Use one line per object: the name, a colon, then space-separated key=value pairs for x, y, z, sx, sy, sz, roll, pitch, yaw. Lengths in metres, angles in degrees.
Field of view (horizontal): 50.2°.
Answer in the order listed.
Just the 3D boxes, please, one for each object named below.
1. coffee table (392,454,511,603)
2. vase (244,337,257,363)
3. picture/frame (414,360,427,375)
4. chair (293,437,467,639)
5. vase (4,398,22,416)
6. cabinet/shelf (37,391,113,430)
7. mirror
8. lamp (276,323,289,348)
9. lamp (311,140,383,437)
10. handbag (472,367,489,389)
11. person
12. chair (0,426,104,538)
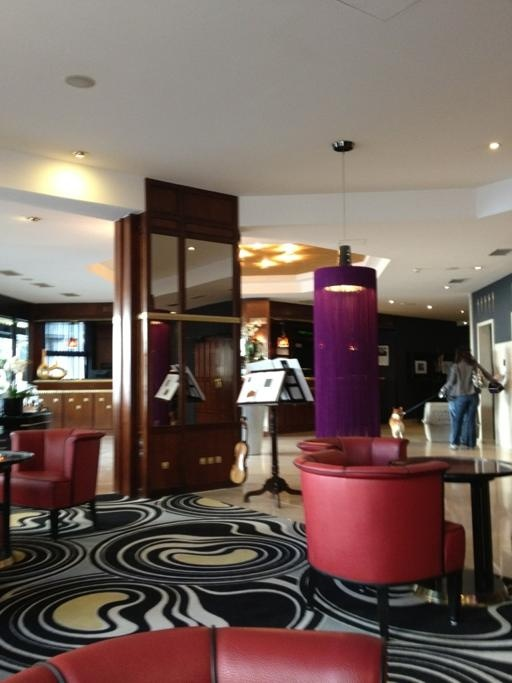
coffee table: x=1.059 y=0.975 z=3.275 sx=0.815 sy=0.737 sz=0.803 roll=-3 pitch=-3 yaw=21
vase: x=-0.093 y=0.179 z=12.034 sx=0.273 sy=0.547 sz=0.302 roll=-1 pitch=-5 yaw=-2
picture/frame: x=5.057 y=0.782 z=16.742 sx=0.467 sy=0.413 sz=0.117 roll=-8 pitch=3 yaw=-38
chair: x=0.700 y=0.857 z=2.976 sx=0.925 sy=0.839 sz=0.982 roll=1 pitch=-3 yaw=-18
vase: x=-2.905 y=0.761 z=6.556 sx=0.230 sy=0.201 sz=0.221 roll=0 pitch=-2 yaw=-23
cabinet/shelf: x=-3.911 y=1.477 z=11.733 sx=1.446 sy=0.776 sz=0.405 roll=0 pitch=-4 yaw=-13
mirror: x=-0.686 y=-0.129 z=6.078 sx=1.092 sy=2.097 sz=0.126 roll=2 pitch=-7 yaw=-34
lamp: x=0.612 y=-0.132 z=12.441 sx=0.138 sy=0.585 sz=0.341 roll=-5 pitch=-7 yaw=38
lamp: x=0.741 y=0.092 z=4.468 sx=0.534 sy=1.365 sz=0.481 roll=-2 pitch=-5 yaw=5
handbag: x=3.996 y=0.645 z=9.728 sx=0.306 sy=0.402 sz=0.108 roll=-6 pitch=-16 yaw=-30
person: x=3.768 y=0.998 z=9.634 sx=0.832 sy=1.728 sz=0.475 roll=0 pitch=-6 yaw=-13
chair: x=-1.650 y=1.135 z=4.710 sx=0.887 sy=0.853 sz=0.822 roll=-4 pitch=-9 yaw=24
